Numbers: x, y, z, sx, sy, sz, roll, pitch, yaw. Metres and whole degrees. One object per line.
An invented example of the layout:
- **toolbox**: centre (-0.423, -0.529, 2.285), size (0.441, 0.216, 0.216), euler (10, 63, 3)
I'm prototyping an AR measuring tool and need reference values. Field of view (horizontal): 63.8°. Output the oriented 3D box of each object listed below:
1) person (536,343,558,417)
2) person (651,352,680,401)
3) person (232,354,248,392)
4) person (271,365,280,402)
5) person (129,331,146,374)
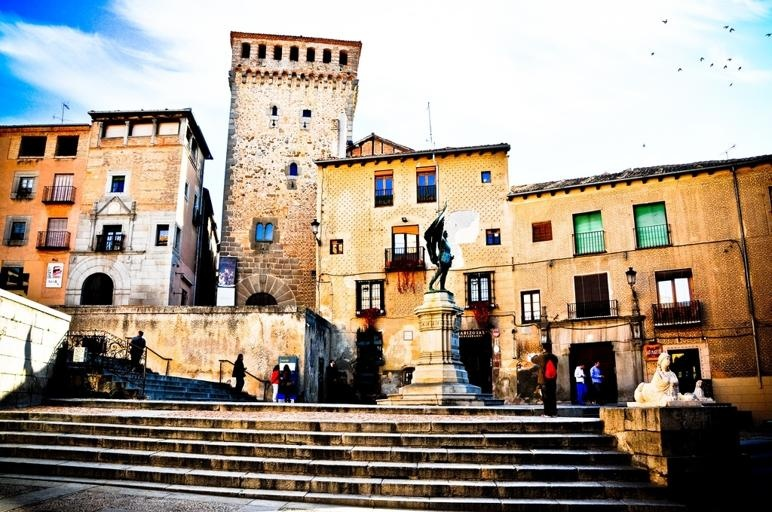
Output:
- **person**: centre (4.611, 3.600, 17.527), size (0.428, 1.792, 0.695), euler (-2, -13, 13)
- **person**: centre (6.677, 2.921, 14.915), size (0.564, 1.161, 0.677), euler (-6, -15, 28)
- **person**: centre (-5.900, 4.758, 25.121), size (0.418, 1.545, 1.163), euler (4, -13, -13)
- **person**: centre (-4.322, 5.094, 24.566), size (0.289, 1.292, 0.721), euler (4, -13, -11)
- **person**: centre (-9.494, 3.766, 23.833), size (0.529, 1.416, 1.708), euler (6, -14, -20)
